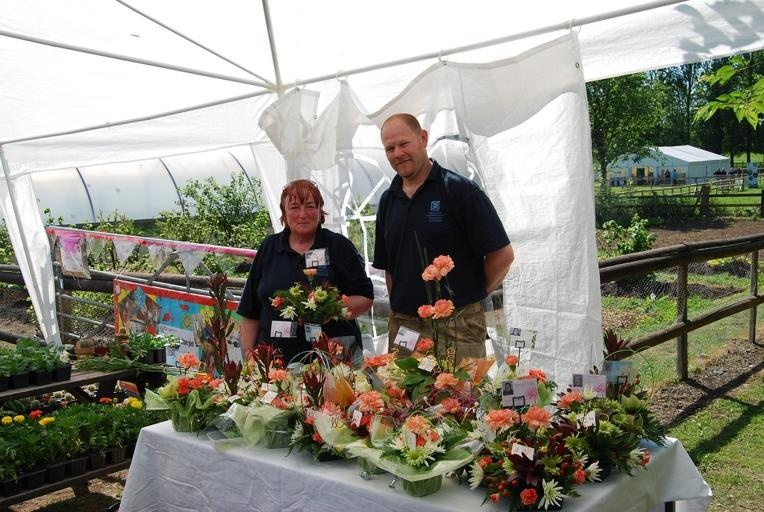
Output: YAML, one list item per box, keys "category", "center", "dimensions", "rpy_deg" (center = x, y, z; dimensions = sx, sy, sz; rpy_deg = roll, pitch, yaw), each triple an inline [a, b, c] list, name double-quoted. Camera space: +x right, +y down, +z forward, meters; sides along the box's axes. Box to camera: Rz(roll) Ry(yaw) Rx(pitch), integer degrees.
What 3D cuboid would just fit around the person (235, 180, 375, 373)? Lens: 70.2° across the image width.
- category: "person"
  center: [-0.582, 0.370, 3.814]
  dimensions: [1.009, 1.649, 0.887]
  rpy_deg: [-1, 3, 7]
